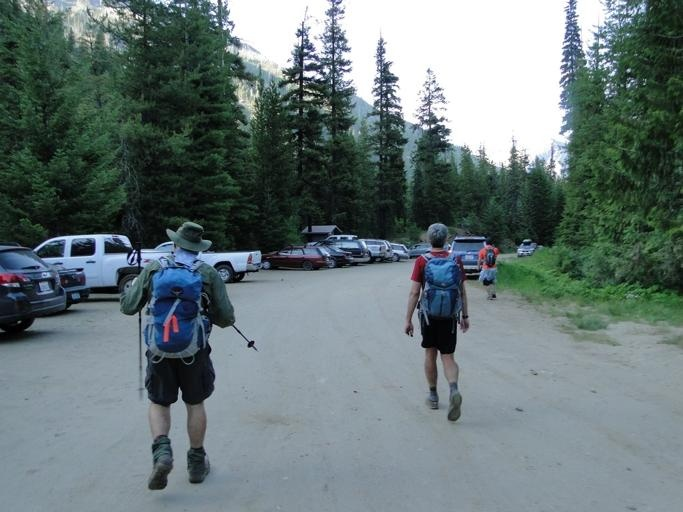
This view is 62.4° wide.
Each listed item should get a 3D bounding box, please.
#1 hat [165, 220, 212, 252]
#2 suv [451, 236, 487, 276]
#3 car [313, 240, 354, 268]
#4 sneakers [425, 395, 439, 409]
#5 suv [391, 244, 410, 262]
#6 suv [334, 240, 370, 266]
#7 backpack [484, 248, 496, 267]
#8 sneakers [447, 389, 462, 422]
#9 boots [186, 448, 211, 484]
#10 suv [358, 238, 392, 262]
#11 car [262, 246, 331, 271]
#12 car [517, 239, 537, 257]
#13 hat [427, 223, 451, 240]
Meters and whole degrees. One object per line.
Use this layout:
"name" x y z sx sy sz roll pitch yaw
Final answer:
"hat" -1.555 -0.175 5.920 0.346 0.163 0.395 24 18 2
"suv" 4.567 -0.138 20.080 1.279 1.435 2.355 1 8 10
"car" -0.634 -0.125 39.499 2.781 1.020 1.281 2 3 13
"sneakers" 1.204 1.924 7.469 0.084 0.104 0.232 1 7 3
"suv" 5.339 -0.370 51.651 2.021 0.922 1.047 3 1 5
"suv" 0.687 -0.403 42.089 2.315 1.076 1.480 3 4 11
"backpack" 4.833 0.068 18.549 0.367 0.565 0.548 0 -1 1
"sneakers" 1.367 1.820 6.907 0.147 0.421 0.183 4 -2 -3
"boots" -1.441 2.085 5.618 0.143 0.277 0.394 0 7 -1
"suv" 2.806 -0.506 47.871 2.515 1.222 1.585 4 4 22
"car" -2.790 0.092 35.780 3.528 1.161 1.827 3 1 13
"car" 23.642 -1.010 72.479 2.118 2.073 4.645 -1 -1 13
"hat" 1.288 -0.331 7.480 0.208 0.275 0.272 1 7 3
